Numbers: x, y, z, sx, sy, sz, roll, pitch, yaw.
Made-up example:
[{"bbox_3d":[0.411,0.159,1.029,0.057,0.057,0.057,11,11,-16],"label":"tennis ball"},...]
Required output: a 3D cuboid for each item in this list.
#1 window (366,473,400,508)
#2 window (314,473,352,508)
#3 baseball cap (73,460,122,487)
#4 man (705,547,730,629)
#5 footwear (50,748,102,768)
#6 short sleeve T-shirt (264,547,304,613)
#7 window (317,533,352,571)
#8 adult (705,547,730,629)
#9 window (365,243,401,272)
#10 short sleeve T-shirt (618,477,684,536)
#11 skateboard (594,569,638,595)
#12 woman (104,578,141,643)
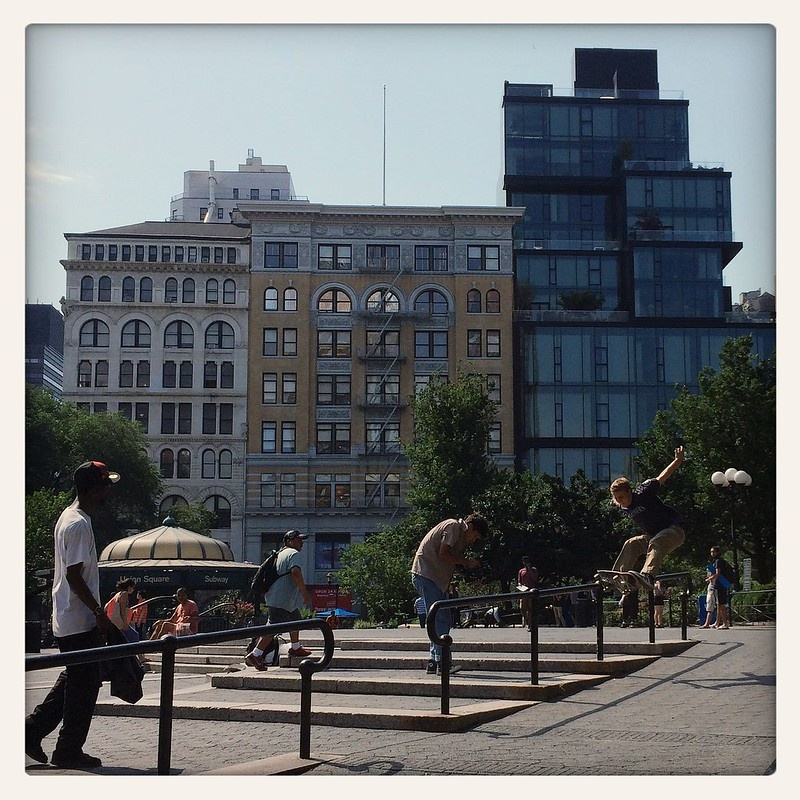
[{"bbox_3d":[-0.792,3.903,79.550,1.300,1.501,0.108,0,-22,1],"label":"window"},{"bbox_3d":[-2.842,3.892,79.634,1.277,1.487,0.096,0,-14,3],"label":"window"},{"bbox_3d":[-3.930,0.974,24.270,0.525,0.342,0.350,-18,21,-30],"label":"baseball cap"},{"bbox_3d":[6.205,3.704,36.931,0.521,1.569,2.166,-1,-5,10],"label":"man"},{"bbox_3d":[-4.123,4.563,23.770,0.583,0.288,0.253,0,-6,-5],"label":"footwear"},{"bbox_3d":[-1.852,2.847,29.514,0.717,1.314,1.000,2,-3,-9],"label":"short sleeve T-shirt"},{"bbox_3d":[-2.743,6.275,76.523,1.627,1.885,0.187,-3,-23,8],"label":"window"},{"bbox_3d":[6.198,3.700,36.892,0.521,1.569,2.085,-1,-5,10],"label":"adult"},{"bbox_3d":[-0.834,-6.371,82.293,1.058,0.918,0.120,1,3,2],"label":"window"},{"bbox_3d":[3.764,1.634,28.317,0.769,0.873,0.805,-2,-5,23],"label":"short sleeve T-shirt"},{"bbox_3d":[3.292,2.803,28.538,0.420,0.129,0.461,8,-31,8],"label":"skateboard"},{"bbox_3d":[-4.664,3.842,32.064,0.536,1.413,0.594,8,4,41],"label":"woman"}]
